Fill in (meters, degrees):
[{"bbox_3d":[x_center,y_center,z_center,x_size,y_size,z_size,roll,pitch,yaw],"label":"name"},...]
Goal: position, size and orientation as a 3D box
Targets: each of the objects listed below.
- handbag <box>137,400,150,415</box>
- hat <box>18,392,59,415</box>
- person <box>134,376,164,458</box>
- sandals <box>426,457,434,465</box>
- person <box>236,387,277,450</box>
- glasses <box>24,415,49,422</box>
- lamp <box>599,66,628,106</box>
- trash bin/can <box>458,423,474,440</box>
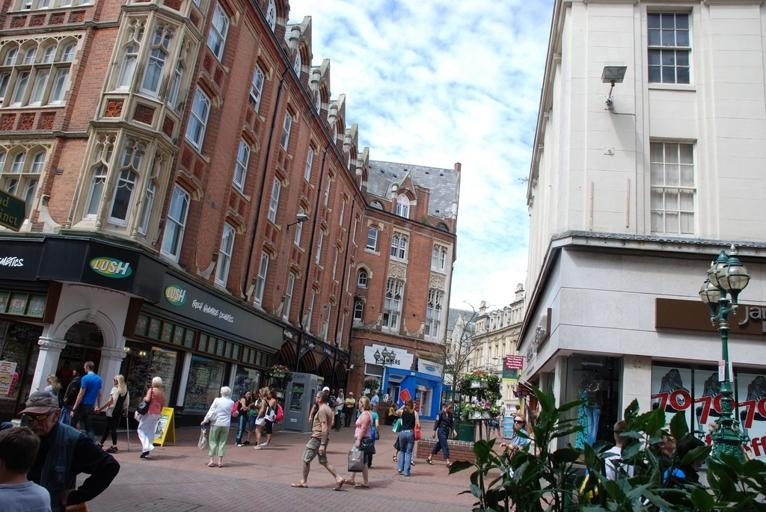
[{"bbox_3d":[-6.422,4.081,15.744,0.342,0.360,0.199,-1,-19,25],"label":"handbag"},{"bbox_3d":[-4.045,1.761,7.011,0.361,0.289,0.201,16,-19,-27],"label":"hat"},{"bbox_3d":[-6.299,4.342,15.828,0.574,2.092,0.642,14,-18,-20],"label":"person"},{"bbox_3d":[1.578,7.077,20.243,0.137,0.104,0.320,-25,4,-16],"label":"sandals"},{"bbox_3d":[-4.671,6.122,21.783,1.154,0.992,3.121,4,-23,-18],"label":"person"},{"bbox_3d":[-4.091,1.929,6.967,0.212,0.087,0.194,15,-18,-25],"label":"glasses"},{"bbox_3d":[6.623,-5.085,16.949,0.695,1.382,1.089,1,-18,21],"label":"lamp"},{"bbox_3d":[3.226,6.913,23.040,0.643,0.583,0.326,2,-19,4],"label":"trash bin/can"}]
